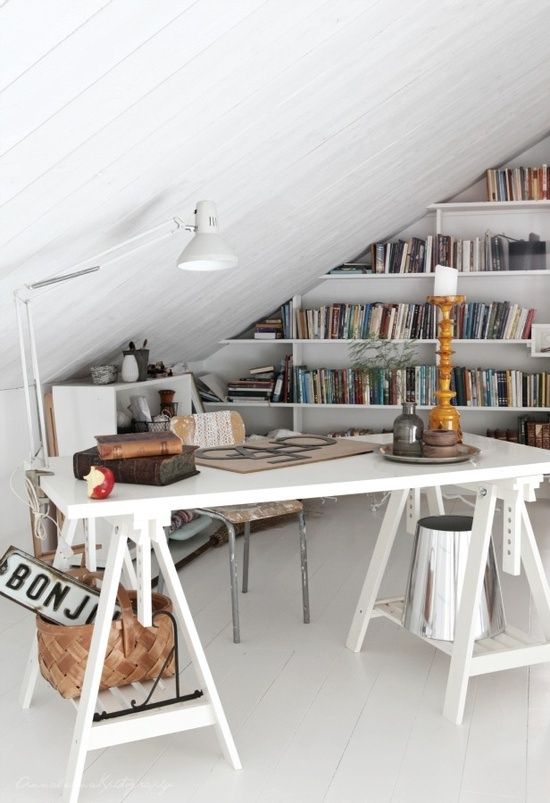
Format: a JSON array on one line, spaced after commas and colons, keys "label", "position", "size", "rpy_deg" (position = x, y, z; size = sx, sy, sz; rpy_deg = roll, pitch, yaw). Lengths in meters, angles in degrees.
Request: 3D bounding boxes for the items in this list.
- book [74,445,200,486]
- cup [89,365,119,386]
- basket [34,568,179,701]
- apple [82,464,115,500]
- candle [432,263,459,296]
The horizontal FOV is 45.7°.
[{"label": "book", "position": [-0.327, 0.144, 1.504], "size": [0.260, 0.066, 0.194], "rpy_deg": [0, 4, 15]}, {"label": "cup", "position": [-0.792, -0.123, 3.024], "size": [0.113, 0.086, 0.160], "rpy_deg": [-2, 0, 16]}, {"label": "basket", "position": [-0.411, 0.552, 1.677], "size": [0.367, 0.328, 0.248], "rpy_deg": [6, -2, -33]}, {"label": "apple", "position": [-0.348, 0.162, 1.289], "size": [0.066, 0.066, 0.059], "rpy_deg": [4, -4, -25]}, {"label": "candle", "position": [0.483, -0.343, 1.853], "size": [0.056, 0.101, 0.164], "rpy_deg": [0, 4, 17]}]
